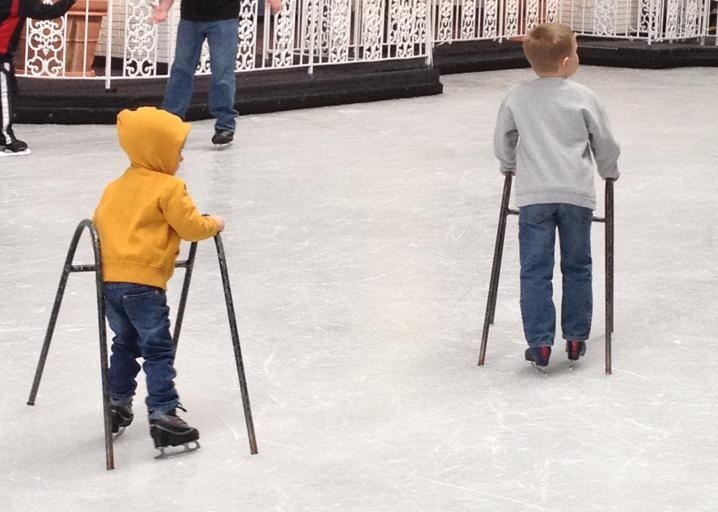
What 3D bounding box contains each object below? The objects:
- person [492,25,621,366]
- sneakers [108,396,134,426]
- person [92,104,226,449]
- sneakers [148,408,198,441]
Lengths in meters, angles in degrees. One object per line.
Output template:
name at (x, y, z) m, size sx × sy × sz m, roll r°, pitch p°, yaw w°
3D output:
person at (0.915, -0.157, 5.679) m, size 0.599 × 1.383 × 0.341 m, roll 2°, pitch 10°, yaw 12°
sneakers at (-1.005, 0.680, 5.055) m, size 0.066 × 0.055 × 0.162 m, roll 4°, pitch 7°, yaw 13°
person at (-0.829, 0.095, 4.987) m, size 0.519 × 1.433 × 0.365 m, roll -2°, pitch 10°, yaw -11°
sneakers at (-0.723, 0.708, 4.962) m, size 0.300 × 0.150 × 0.093 m, roll -5°, pitch -11°, yaw 32°
